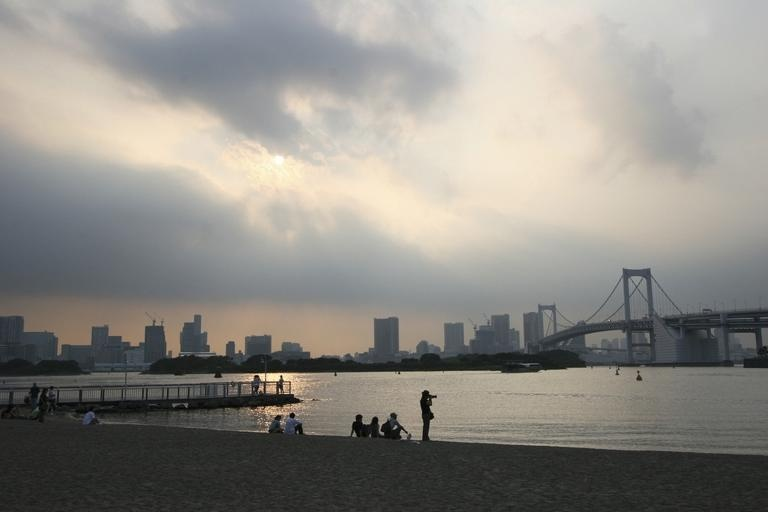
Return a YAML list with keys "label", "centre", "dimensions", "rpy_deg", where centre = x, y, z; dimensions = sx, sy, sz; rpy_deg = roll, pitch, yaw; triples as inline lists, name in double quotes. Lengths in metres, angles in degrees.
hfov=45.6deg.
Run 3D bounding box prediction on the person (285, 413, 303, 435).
- label: "person"
  centre: [-5.208, 9.410, 51.622]
  dimensions: [0.930, 1.212, 3.096]
  rpy_deg: [1, -11, -6]
